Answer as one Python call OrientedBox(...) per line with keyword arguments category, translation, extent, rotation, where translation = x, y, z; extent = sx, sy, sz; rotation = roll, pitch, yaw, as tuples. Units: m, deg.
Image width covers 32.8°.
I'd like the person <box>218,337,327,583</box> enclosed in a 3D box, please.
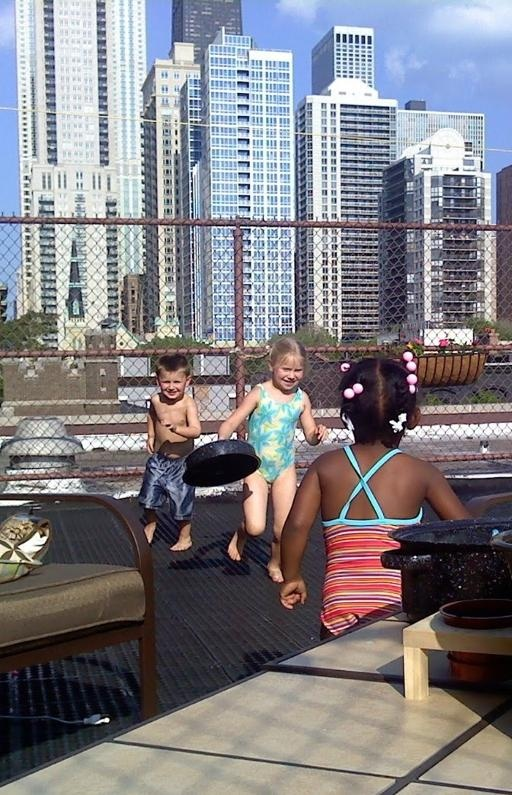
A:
OrientedBox(category="person", translation=(0.040, 0.321, 4.376), extent=(0.629, 1.196, 0.469), rotation=(-3, 11, -23))
